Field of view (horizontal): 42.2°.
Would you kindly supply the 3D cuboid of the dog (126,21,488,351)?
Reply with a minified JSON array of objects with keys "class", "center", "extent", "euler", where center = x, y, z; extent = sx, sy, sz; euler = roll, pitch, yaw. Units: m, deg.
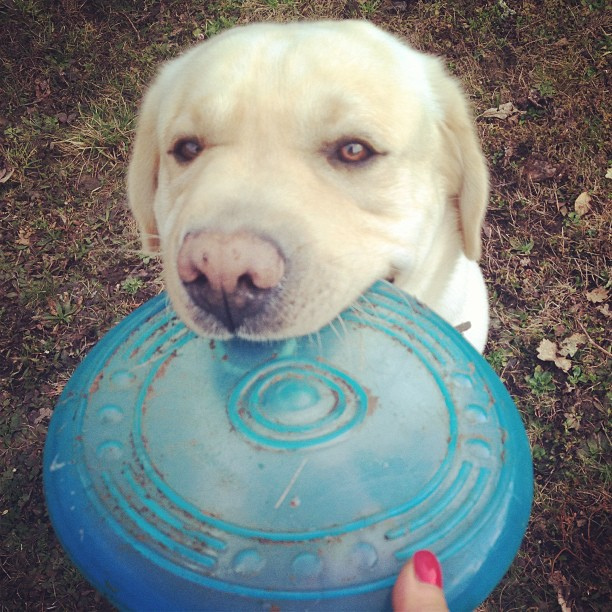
[{"class":"dog","center":[0.047,-0.701,5.095],"extent":[2.080,1.700,2.187],"euler":[1,51,12]}]
